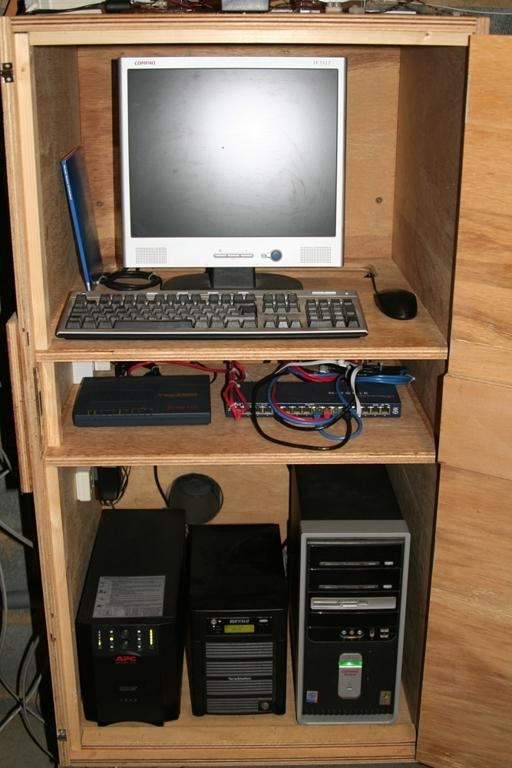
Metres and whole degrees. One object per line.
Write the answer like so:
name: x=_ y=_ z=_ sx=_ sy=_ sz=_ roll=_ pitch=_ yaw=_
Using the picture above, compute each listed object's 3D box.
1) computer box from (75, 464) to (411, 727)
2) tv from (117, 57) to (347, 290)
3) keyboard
computer box: x=0.046 y=0.438 z=1.521 sx=0.723 sy=0.509 sz=0.510 roll=0 pitch=24 yaw=1
tv: x=-0.043 y=-0.410 z=1.213 sx=0.401 sy=0.419 sz=0.129 roll=0 pitch=19 yaw=-1
keyboard: x=-0.074 y=-0.122 z=1.144 sx=0.518 sy=0.119 sz=0.163 roll=-6 pitch=8 yaw=-2
